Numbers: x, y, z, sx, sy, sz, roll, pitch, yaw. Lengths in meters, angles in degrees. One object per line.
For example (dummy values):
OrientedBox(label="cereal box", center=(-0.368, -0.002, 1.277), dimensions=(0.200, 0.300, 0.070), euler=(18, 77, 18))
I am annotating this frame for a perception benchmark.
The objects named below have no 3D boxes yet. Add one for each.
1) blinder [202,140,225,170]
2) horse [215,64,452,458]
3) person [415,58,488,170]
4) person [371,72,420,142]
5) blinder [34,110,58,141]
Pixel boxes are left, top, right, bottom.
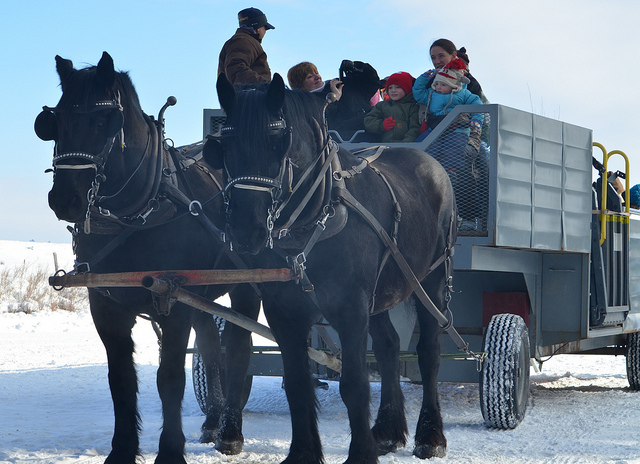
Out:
OrientedBox(label="blinder", center=(-0.845, -0.618, 8.579), dimensions=(0.166, 0.222, 0.172), euler=(1, -5, -4))
OrientedBox(label="horse", center=(0.212, 0.377, 9.183), dimensions=(0.991, 3.175, 2.394), euler=(-3, -6, 32))
OrientedBox(label="person", center=(1.360, -1.084, 11.312), dimensions=(0.835, 1.542, 0.447), euler=(3, -15, 11))
OrientedBox(label="person", center=(0.833, -1.229, 11.682), dimensions=(0.509, 1.072, 0.446), euler=(3, -9, 16))
OrientedBox(label="blinder", center=(-2.245, -0.882, 8.777), dimensions=(0.191, 0.245, 0.111), euler=(1, -5, -5))
